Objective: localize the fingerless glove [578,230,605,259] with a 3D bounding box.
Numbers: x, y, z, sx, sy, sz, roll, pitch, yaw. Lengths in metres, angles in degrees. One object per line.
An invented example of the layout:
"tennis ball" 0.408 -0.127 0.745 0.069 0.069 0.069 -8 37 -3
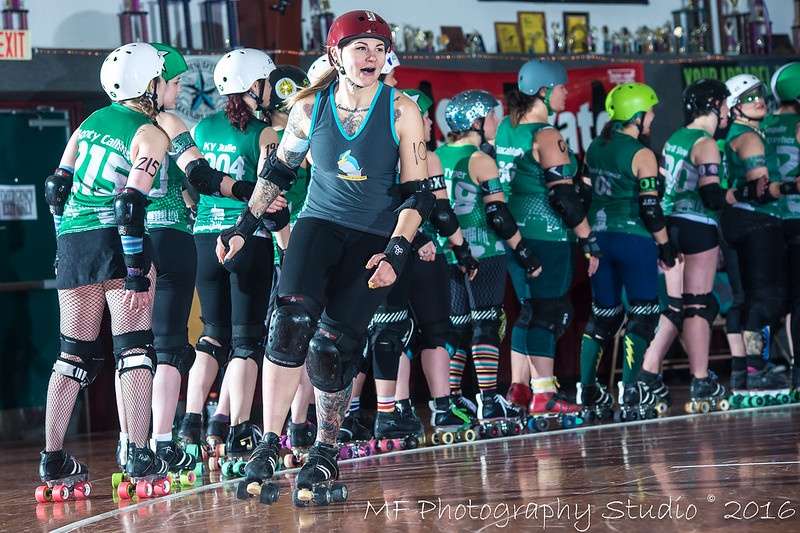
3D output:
"fingerless glove" 1.662 -0.178 7.977 0.169 0.339 0.236 -12 6 12

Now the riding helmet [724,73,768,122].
"riding helmet" 3.188 -1.610 8.629 0.382 0.454 0.369 -23 -7 43

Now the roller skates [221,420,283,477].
"roller skates" -1.064 1.327 6.804 0.498 0.411 0.240 5 -15 -44

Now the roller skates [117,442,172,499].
"roller skates" -1.726 1.372 6.309 0.221 0.376 0.483 -1 -6 16

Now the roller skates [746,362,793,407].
"roller skates" 3.262 1.069 8.178 0.477 0.365 0.201 -2 -5 -10

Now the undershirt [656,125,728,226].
"undershirt" 2.617 -0.936 8.379 0.450 0.906 0.581 -28 29 -32

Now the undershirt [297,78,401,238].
"undershirt" -0.293 -0.662 5.655 0.689 1.112 0.523 4 7 7

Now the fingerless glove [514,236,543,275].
"fingerless glove" 1.089 -0.059 7.806 0.178 0.317 0.122 -31 10 21

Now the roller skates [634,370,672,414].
"roller skates" 2.276 1.077 8.231 0.201 0.317 0.631 -5 -15 40

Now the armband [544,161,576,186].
"armband" 1.321 -0.778 7.748 0.174 0.130 0.172 -7 1 -36

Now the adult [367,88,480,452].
"adult" 0.037 -0.184 7.609 0.870 3.425 0.829 -8 -22 2

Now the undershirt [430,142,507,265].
"undershirt" 0.566 -0.508 7.684 0.578 0.802 0.404 -35 10 -31

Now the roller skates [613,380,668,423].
"roller skates" 2.045 1.147 7.884 0.449 0.342 0.251 -2 0 -12

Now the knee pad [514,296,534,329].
"knee pad" 1.056 0.394 7.986 0.163 0.350 0.239 1 0 -8

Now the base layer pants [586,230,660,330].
"base layer pants" 1.977 0.054 8.152 0.621 0.817 0.439 1 7 36

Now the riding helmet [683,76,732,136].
"riding helmet" 2.849 -1.454 8.387 0.374 0.587 0.479 0 4 36

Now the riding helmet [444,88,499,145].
"riding helmet" 0.630 -1.292 8.007 0.432 0.474 0.357 -18 11 -10

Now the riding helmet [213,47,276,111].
"riding helmet" -1.184 -1.510 7.271 0.502 0.478 0.385 -25 28 -39

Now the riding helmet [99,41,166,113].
"riding helmet" -1.818 -1.313 6.409 0.309 0.420 0.443 5 40 37

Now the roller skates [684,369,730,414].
"roller skates" 2.787 1.126 8.258 0.538 0.369 0.196 2 -9 -31

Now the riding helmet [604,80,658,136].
"riding helmet" 2.041 -1.433 8.250 0.400 0.455 0.370 -11 12 -2

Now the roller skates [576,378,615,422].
"roller skates" 1.692 1.152 7.943 0.316 0.400 0.225 -4 3 -20

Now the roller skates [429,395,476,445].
"roller skates" 0.400 1.242 7.436 0.447 0.407 0.224 2 -3 -34

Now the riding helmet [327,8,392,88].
"riding helmet" -0.279 -1.304 5.680 0.327 0.478 0.426 6 27 -17

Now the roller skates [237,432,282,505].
"roller skates" -0.842 1.230 5.743 0.201 0.355 0.500 11 11 2

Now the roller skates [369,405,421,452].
"roller skates" -0.013 1.250 7.223 0.424 0.359 0.177 -2 2 -43

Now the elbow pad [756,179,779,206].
"elbow pad" 3.224 -0.651 8.084 0.100 0.181 0.289 6 15 7

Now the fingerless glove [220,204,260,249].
"fingerless glove" -1.004 -0.251 5.903 0.113 0.213 0.286 1 44 47

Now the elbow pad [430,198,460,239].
"elbow pad" 0.362 -0.390 7.379 0.130 0.208 0.309 -22 22 2

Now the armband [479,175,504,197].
"armband" 0.759 -0.662 7.660 0.138 0.129 0.153 -12 4 2

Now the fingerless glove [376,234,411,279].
"fingerless glove" -0.029 -0.083 5.579 0.148 0.087 0.237 28 50 14

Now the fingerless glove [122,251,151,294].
"fingerless glove" -1.763 0.024 6.141 0.147 0.268 0.175 -4 11 -14

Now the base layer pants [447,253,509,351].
"base layer pants" 0.624 0.393 8.080 0.427 1.172 0.304 -11 -17 29

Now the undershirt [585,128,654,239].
"undershirt" 1.985 -0.719 8.265 0.477 1.092 0.705 -11 13 -29

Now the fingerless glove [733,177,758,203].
"fingerless glove" 3.055 -0.662 8.093 0.201 0.098 0.150 -22 36 22

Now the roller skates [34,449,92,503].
"roller skates" -2.304 1.427 6.396 0.198 0.356 0.450 -7 -8 19

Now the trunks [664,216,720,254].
"trunks" 2.619 -0.277 8.238 0.410 0.350 0.311 5 17 38

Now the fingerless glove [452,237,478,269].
"fingerless glove" 0.546 -0.081 7.690 0.152 0.275 0.107 -24 13 27

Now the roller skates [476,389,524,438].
"roller skates" 0.859 1.203 7.802 0.450 0.347 0.162 1 -2 -29

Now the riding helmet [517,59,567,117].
"riding helmet" 1.334 -1.479 8.019 0.318 0.472 0.383 13 -14 -34

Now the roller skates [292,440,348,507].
"roller skates" -0.501 1.284 5.727 0.225 0.377 0.467 -4 -7 18

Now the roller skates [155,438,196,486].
"roller skates" -1.635 1.348 6.496 0.183 0.281 0.572 -15 -14 2
